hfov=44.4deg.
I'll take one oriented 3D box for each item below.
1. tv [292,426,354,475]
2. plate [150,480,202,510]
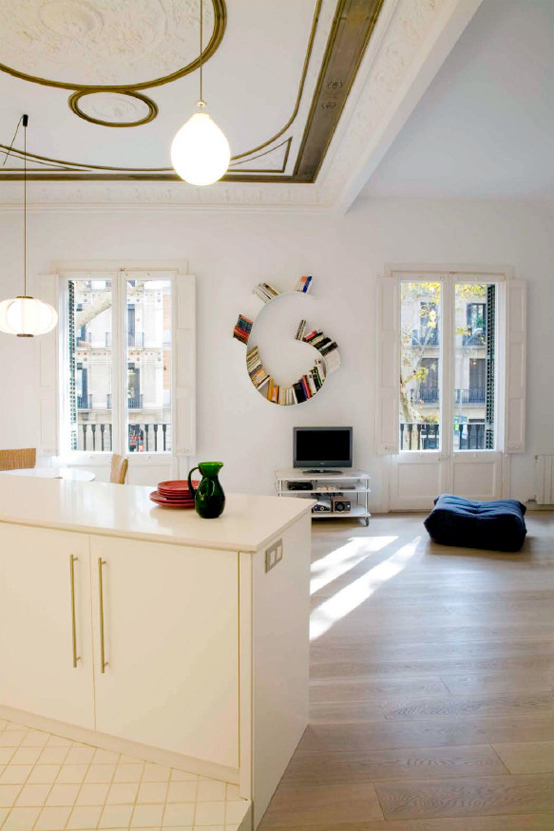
[{"bbox_3d":[0.372,0.287,5.641,0.384,0.296,0.087,0,-4,-1],"label":"tv"},{"bbox_3d":[-0.337,0.260,2.396,0.119,0.039,0.121,5,7,37],"label":"plate"}]
